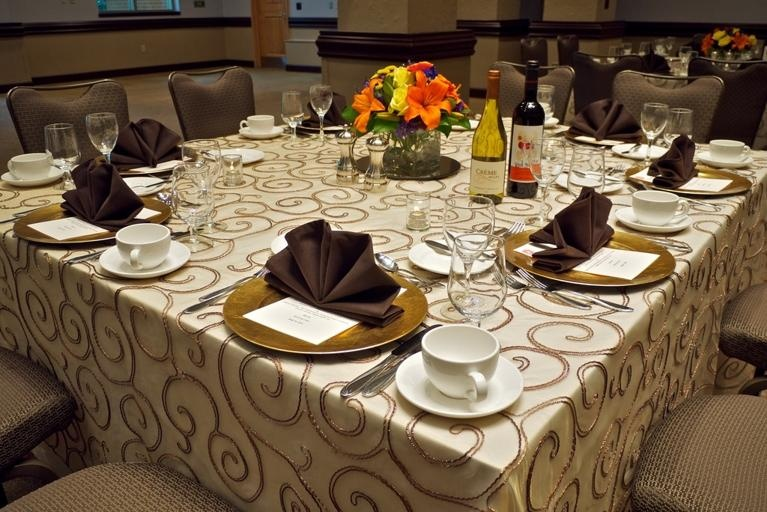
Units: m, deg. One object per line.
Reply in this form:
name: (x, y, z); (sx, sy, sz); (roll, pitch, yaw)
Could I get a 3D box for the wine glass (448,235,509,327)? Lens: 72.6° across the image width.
wine glass: (0.214, 0.094, 1.226); (0.138, 0.287, 0.137); (-1, 3, -10)

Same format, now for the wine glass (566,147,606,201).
wine glass: (0.687, -0.288, 1.762); (0.121, 0.184, 0.127); (-3, 18, 7)

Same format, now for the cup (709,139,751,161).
cup: (1.458, -0.450, 2.230); (0.100, 0.067, 0.133); (-5, 11, 5)

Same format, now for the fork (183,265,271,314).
fork: (-0.400, 0.093, 1.343); (0.029, 0.023, 0.253); (25, 29, 19)

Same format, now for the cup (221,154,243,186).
cup: (-0.604, -0.342, 2.099); (0.080, 0.129, 0.077); (2, 18, -1)

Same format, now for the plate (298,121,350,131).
plate: (-0.308, -0.669, 2.695); (0.217, 0.033, 0.210); (10, 14, 44)

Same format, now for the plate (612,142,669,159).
plate: (1.138, -0.464, 2.330); (0.138, 0.023, 0.146); (-4, 21, 3)

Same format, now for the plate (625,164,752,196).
plate: (1.224, -0.287, 2.011); (0.235, 0.026, 0.238); (-12, 24, -20)

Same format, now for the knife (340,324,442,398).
knife: (0.014, 0.233, 1.138); (0.086, 0.033, 0.309); (4, 30, 32)

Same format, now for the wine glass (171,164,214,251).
wine glass: (-0.577, -0.159, 1.619); (0.123, 0.287, 0.126); (11, 25, -2)

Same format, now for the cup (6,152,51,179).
cup: (-1.400, -0.365, 2.082); (0.137, 0.093, 0.121); (9, 21, 14)

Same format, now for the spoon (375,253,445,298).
spoon: (0.041, 0.030, 1.455); (0.072, 0.049, 0.310); (12, 14, -42)

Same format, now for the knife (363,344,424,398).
knife: (0.035, 0.214, 1.139); (0.038, 0.015, 0.283); (12, 25, 26)

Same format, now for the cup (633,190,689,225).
cup: (0.892, -0.144, 1.691); (0.166, 0.111, 0.141); (11, 21, 30)

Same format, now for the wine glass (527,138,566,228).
wine glass: (0.540, -0.242, 1.747); (0.124, 0.316, 0.125); (0, -13, 36)

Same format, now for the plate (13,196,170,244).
plate: (-0.941, -0.146, 1.790); (0.248, 0.022, 0.262); (7, 28, -12)

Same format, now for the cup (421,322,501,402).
cup: (0.157, 0.233, 1.060); (0.157, 0.113, 0.219); (2, 19, 4)

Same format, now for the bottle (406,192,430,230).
bottle: (0.115, -0.148, 1.724); (0.075, 0.120, 0.076); (-2, 26, 1)
